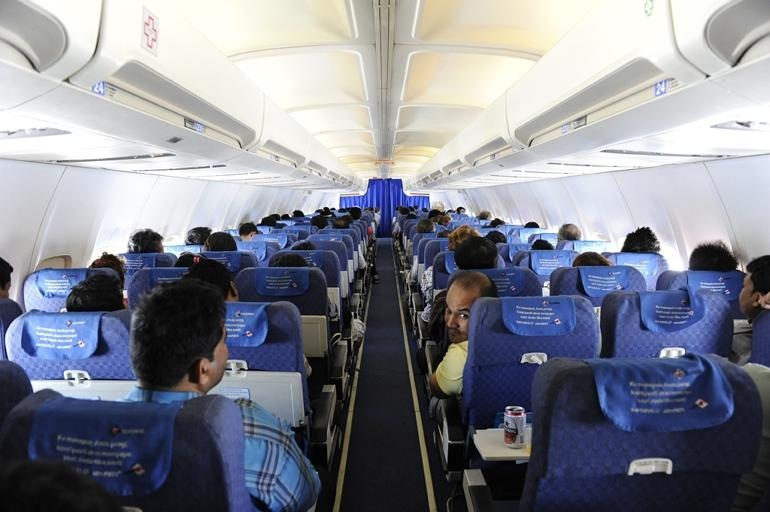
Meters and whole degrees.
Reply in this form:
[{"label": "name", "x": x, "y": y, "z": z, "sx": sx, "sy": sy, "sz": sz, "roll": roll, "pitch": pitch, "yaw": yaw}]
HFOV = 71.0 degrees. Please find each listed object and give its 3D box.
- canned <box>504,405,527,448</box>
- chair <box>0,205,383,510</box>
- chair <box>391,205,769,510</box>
[{"label": "canned", "x": 0.814, "y": 1.067, "z": 3.349, "sx": 0.132, "sy": 0.242, "sz": 0.099, "roll": 3, "pitch": 15, "yaw": 15}, {"label": "chair", "x": -0.862, "y": 0.742, "z": 3.063, "sx": 1.121, "sy": 1.508, "sz": 1.368, "roll": 1, "pitch": 10, "yaw": 6}, {"label": "chair", "x": 1.206, "y": 1.038, "z": 3.592, "sx": 1.494, "sy": 1.417, "sz": 1.686, "roll": -1, "pitch": 14, "yaw": 0}]
